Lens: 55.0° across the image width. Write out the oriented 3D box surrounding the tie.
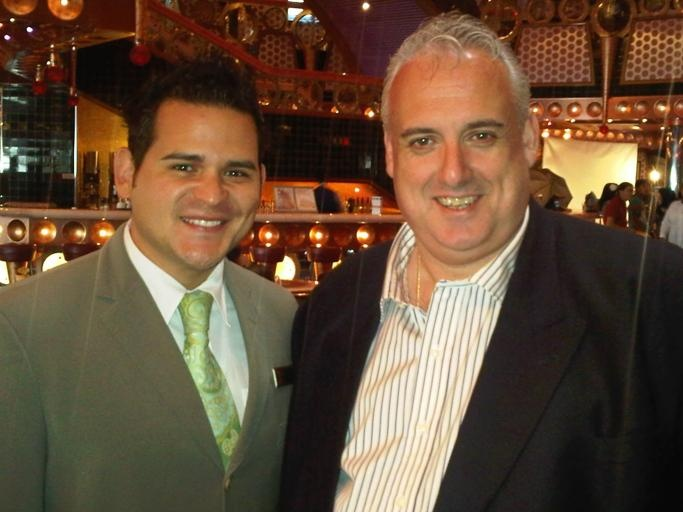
[{"bbox_3d":[-0.494,0.427,2.440,0.163,0.745,0.087,3,-34,-34],"label":"tie"}]
